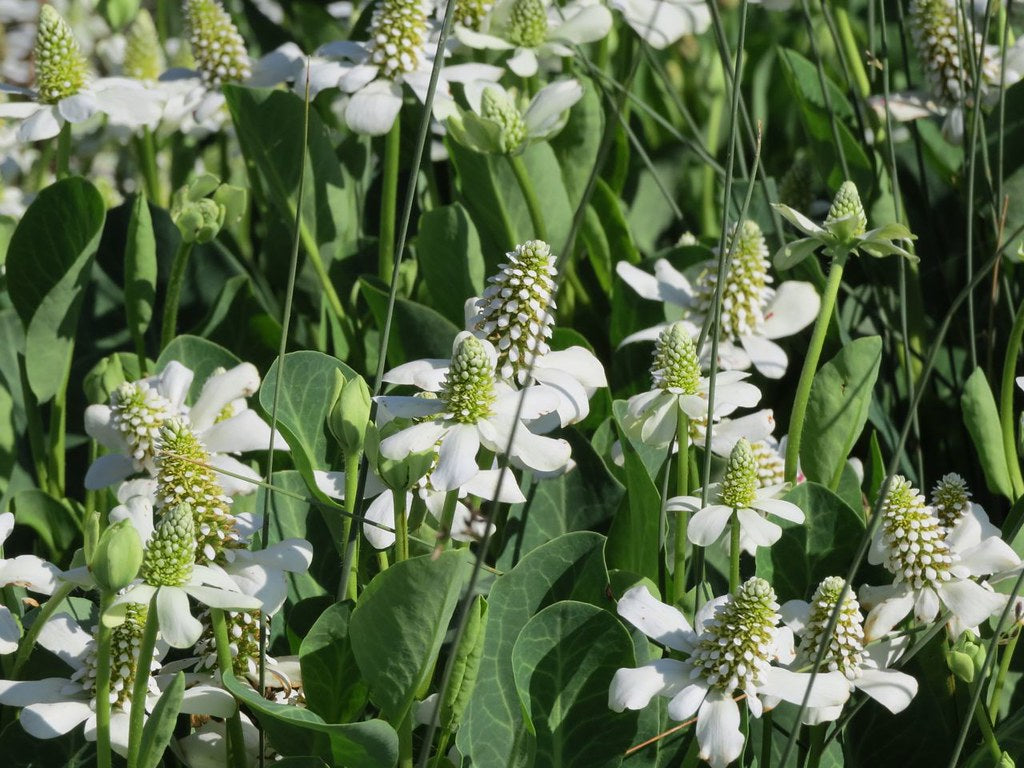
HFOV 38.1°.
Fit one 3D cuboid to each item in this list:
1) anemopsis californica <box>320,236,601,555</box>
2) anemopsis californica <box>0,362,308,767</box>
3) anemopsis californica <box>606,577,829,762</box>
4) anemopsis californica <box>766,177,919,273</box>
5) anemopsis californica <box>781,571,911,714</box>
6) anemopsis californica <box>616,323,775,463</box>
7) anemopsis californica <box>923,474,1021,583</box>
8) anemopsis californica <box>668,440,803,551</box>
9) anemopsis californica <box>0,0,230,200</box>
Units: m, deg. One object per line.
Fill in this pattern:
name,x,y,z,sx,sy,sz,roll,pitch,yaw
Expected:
anemopsis californica,-0.039,0.029,1.337,0.223,0.149,0.252,29,37,25
anemopsis californica,-0.304,0.134,1.377,0.213,0.245,0.395,2,47,-1
anemopsis californica,0.183,0.244,1.297,0.207,0.145,0.144,-7,15,-24
anemopsis californica,0.328,-0.158,1.447,0.128,0.100,0.139,2,8,-29
anemopsis californica,0.303,0.236,1.326,0.095,0.099,0.128,-9,44,3
anemopsis californica,0.164,0.000,1.426,0.094,0.104,0.106,2,-3,-23
anemopsis californica,0.434,0.136,1.386,0.031,0.096,0.089,-20,16,27
anemopsis californica,0.208,0.118,1.376,0.095,0.084,0.110,-20,39,-12
anemopsis californica,-0.461,-0.322,1.700,0.187,0.124,0.216,-19,7,0
